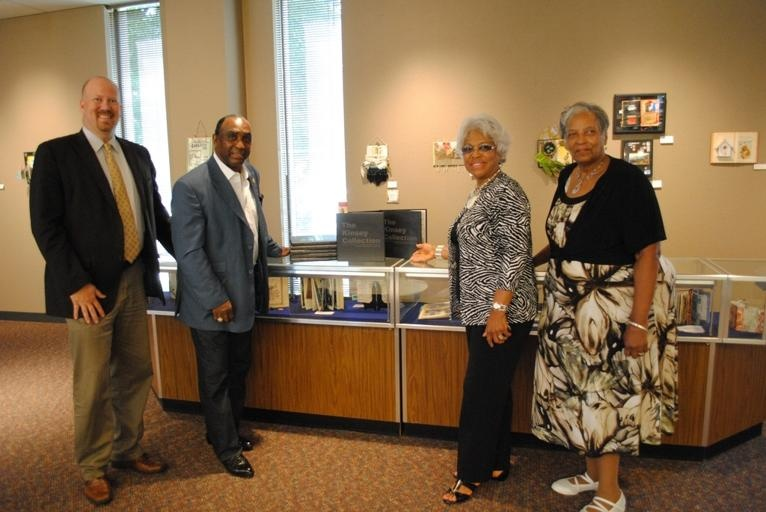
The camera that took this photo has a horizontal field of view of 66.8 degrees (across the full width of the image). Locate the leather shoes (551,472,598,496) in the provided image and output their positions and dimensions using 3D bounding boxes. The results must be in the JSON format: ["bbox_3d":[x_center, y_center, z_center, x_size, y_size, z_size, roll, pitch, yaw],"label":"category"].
[{"bbox_3d":[1.396,1.666,4.299,0.355,0.146,0.132,0,13,1],"label":"leather shoes"}]

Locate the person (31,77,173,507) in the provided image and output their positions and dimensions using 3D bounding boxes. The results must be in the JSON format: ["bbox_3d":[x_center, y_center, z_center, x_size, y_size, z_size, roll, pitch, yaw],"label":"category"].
[{"bbox_3d":[-2.044,0.242,4.330,0.862,3.048,0.605,-9,14,-35],"label":"person"}]

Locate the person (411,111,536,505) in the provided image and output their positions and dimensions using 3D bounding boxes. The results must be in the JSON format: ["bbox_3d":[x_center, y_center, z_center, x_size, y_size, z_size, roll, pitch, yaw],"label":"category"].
[{"bbox_3d":[0.767,0.601,4.137,0.627,2.348,0.432,1,12,8],"label":"person"}]

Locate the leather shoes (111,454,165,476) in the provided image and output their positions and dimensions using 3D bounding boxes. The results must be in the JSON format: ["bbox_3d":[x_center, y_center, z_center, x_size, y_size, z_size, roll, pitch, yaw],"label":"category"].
[{"bbox_3d":[-1.898,1.609,4.583,0.406,0.174,0.166,2,3,-2],"label":"leather shoes"}]

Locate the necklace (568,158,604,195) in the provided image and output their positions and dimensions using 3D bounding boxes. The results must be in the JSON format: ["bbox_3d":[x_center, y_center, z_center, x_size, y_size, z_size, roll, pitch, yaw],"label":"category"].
[{"bbox_3d":[1.390,-0.540,3.975,0.075,0.262,0.199,3,19,-47],"label":"necklace"}]

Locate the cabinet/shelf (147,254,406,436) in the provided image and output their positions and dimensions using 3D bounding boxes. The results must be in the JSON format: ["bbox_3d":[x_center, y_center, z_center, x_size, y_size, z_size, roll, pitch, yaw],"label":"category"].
[{"bbox_3d":[-0.719,0.897,4.923,2.410,1.581,1.337,0,1,16],"label":"cabinet/shelf"}]

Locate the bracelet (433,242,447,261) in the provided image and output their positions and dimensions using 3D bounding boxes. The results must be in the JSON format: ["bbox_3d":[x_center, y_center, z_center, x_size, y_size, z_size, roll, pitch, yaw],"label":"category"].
[{"bbox_3d":[0.463,-0.029,4.659,0.117,0.077,0.119,6,3,4],"label":"bracelet"}]

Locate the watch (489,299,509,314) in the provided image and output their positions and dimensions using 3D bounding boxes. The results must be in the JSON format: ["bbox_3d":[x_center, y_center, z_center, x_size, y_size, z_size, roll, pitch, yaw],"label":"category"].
[{"bbox_3d":[0.802,0.345,3.961,0.095,0.063,0.097,5,7,8],"label":"watch"}]

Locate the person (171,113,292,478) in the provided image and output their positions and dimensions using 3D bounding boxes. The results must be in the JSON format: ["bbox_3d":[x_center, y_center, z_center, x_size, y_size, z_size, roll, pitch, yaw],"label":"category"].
[{"bbox_3d":[-1.211,0.298,4.516,0.715,2.702,0.637,-6,13,-26],"label":"person"}]

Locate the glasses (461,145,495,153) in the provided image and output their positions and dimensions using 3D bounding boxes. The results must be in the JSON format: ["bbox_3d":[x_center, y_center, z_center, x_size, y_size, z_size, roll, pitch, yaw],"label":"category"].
[{"bbox_3d":[0.664,-0.747,4.049,0.219,0.056,0.056,0,12,3],"label":"glasses"}]

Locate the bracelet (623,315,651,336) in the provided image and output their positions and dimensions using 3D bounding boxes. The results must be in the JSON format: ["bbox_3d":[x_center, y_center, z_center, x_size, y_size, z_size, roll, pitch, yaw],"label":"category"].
[{"bbox_3d":[1.699,0.463,3.859,0.161,0.106,0.094,0,12,1],"label":"bracelet"}]
